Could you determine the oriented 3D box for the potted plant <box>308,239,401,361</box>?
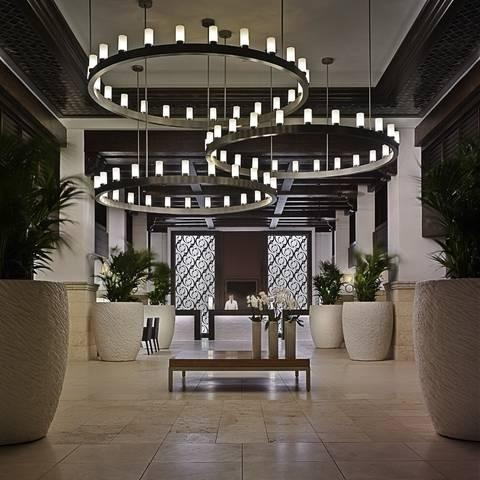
[{"bbox_3d":[2.474,1.532,10.708,2.506,3.141,1.524,-3,-8,43],"label":"potted plant"}]
